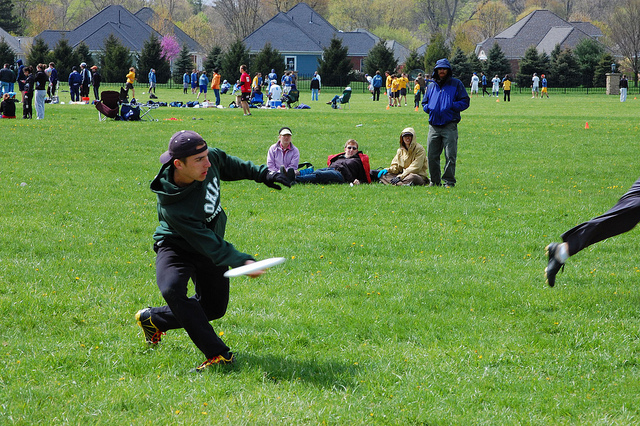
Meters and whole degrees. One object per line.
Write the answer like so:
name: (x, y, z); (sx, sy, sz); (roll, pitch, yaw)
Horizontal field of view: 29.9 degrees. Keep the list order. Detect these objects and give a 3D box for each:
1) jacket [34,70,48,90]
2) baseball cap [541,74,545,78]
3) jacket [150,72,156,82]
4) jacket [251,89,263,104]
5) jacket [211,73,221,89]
jacket: (-23.127, -11.119, 99.398); (1.351, 1.980, 1.268); (1, 13, -12)
baseball cap: (24.246, -15.019, 130.204); (0.460, 0.147, 0.473); (4, -19, -9)
jacket: (-17.691, -14.475, 126.674); (0.349, 1.038, 1.412); (1, 8, -9)
jacket: (-5.923, -11.049, 113.191); (1.492, 1.818, 0.961); (0, -3, -5)
jacket: (-9.619, -12.334, 111.459); (0.770, 1.405, 0.436); (-3, 9, -38)
